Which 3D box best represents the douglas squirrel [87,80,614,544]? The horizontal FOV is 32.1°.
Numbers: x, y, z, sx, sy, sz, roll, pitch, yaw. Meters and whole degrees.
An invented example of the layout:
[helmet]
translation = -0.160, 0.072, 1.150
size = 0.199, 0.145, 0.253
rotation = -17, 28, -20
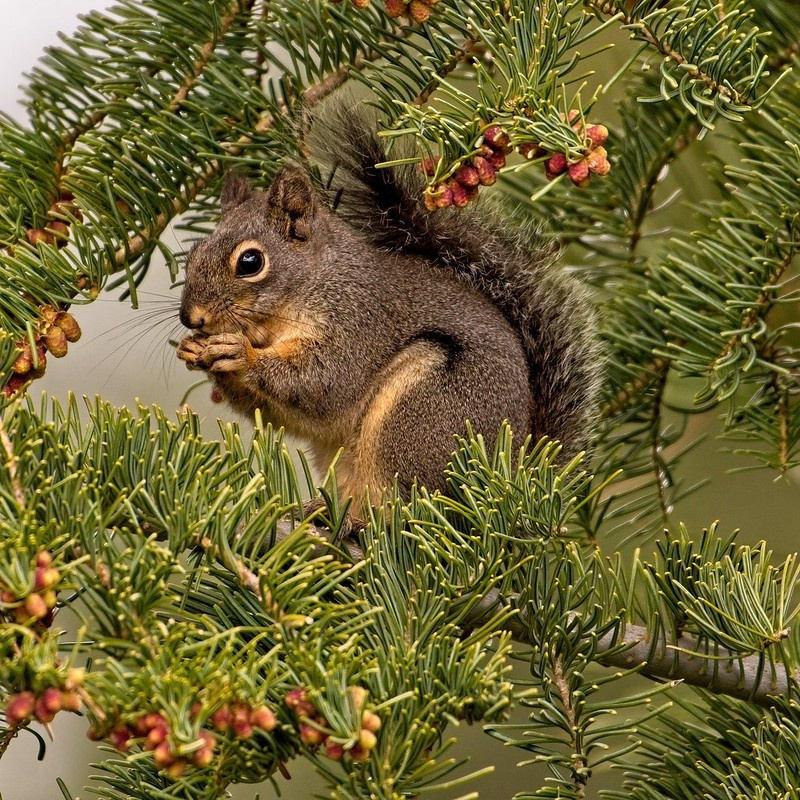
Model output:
[douglas squirrel]
translation = 0.031, -0.145, 2.455
size = 0.771, 0.315, 0.702
rotation = 7, -82, -13
